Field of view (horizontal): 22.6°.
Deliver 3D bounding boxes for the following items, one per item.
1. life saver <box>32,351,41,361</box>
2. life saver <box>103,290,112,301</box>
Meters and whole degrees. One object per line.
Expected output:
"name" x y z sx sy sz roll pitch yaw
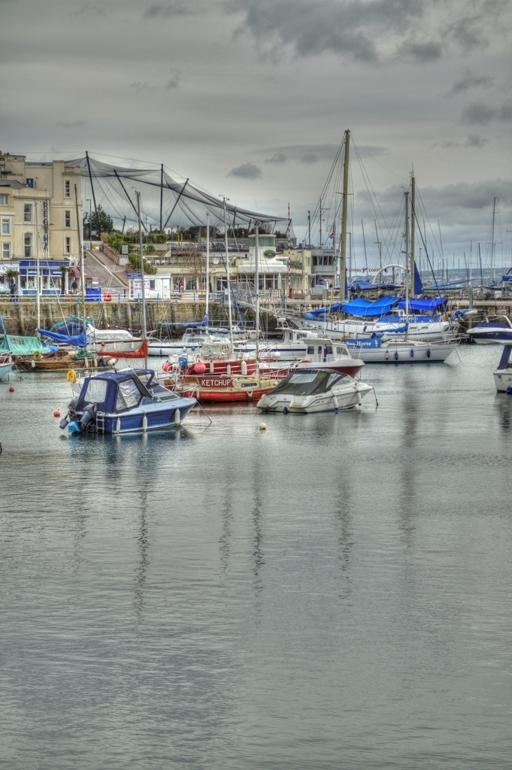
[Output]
"life saver" -13.609 -1.727 78.980 0.377 0.464 0.361 0 -12 -1
"life saver" -12.356 -7.269 105.865 0.770 0.773 0.835 1 4 -5
